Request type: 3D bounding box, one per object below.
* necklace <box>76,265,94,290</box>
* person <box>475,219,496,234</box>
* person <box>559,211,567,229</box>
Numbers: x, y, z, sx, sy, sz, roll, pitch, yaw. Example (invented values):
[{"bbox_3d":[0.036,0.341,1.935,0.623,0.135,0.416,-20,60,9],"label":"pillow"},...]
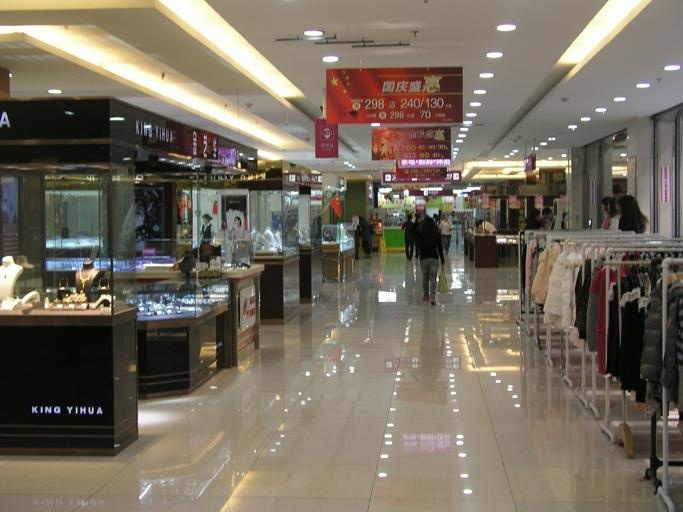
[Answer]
[{"bbox_3d":[-2.259,0.189,4.998,0.198,0.180,0.075,-1,4,16],"label":"necklace"},{"bbox_3d":[4.834,-1.006,18.975,0.454,0.380,0.724,2,-1,7],"label":"person"},{"bbox_3d":[7.176,-1.183,18.244,0.160,0.506,0.783,-1,5,21],"label":"person"}]
